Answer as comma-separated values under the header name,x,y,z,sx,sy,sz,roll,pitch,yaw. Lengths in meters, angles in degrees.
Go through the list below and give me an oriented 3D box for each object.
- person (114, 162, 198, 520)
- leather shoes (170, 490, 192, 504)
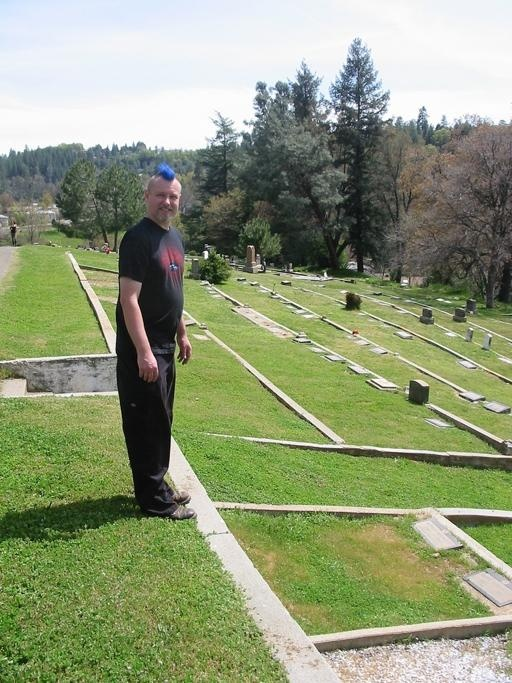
name,x,y,z,sx,sy,sz,roll,pitch,yaw
person,-0.742,0.058,3.917,0.433,2.615,0.638,7,9,31
leather shoes,-0.594,1.228,4.281,0.170,0.071,0.062,-2,15,-11
